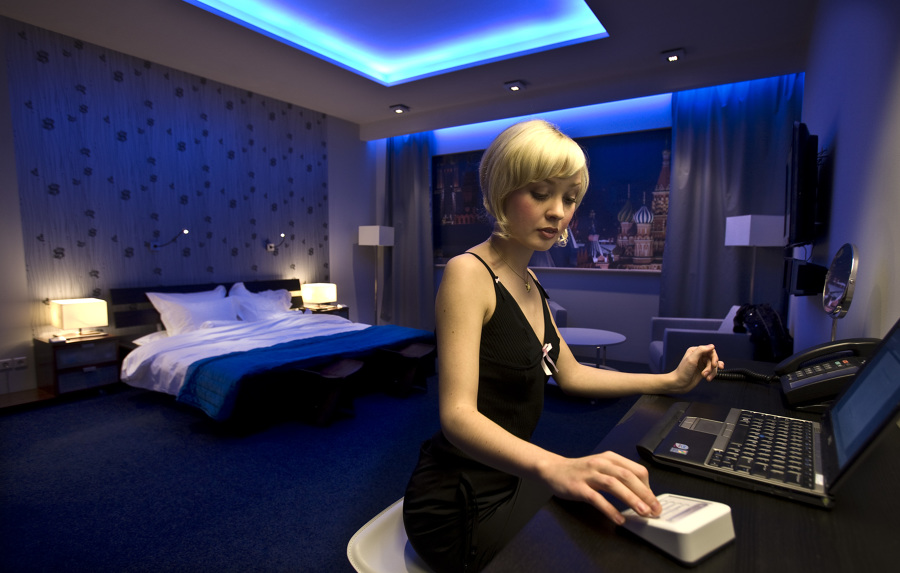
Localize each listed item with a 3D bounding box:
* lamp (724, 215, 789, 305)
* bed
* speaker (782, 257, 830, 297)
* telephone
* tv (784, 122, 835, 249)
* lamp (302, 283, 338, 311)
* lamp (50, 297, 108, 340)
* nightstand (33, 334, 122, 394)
[{"bbox_3d":[3.106,-0.267,5.507,0.516,0.928,0.653,0,8,21],"label":"lamp"},{"bbox_3d":[-1.749,0.573,5.196,2.568,1.053,1.835,0,8,29],"label":"bed"},{"bbox_3d":[2.382,-0.068,3.587,0.179,0.253,0.353,3,3,44],"label":"speaker"},{"bbox_3d":[1.775,0.396,2.540,0.411,0.219,0.306,-14,1,17],"label":"telephone"},{"bbox_3d":[2.493,-0.704,3.739,0.261,0.850,0.612,2,9,33],"label":"tv"},{"bbox_3d":[-1.645,0.125,6.947,0.363,0.230,0.367,-3,-4,41],"label":"lamp"},{"bbox_3d":[-3.466,0.243,5.089,0.416,0.417,0.424,0,8,-13],"label":"lamp"},{"bbox_3d":[-3.543,0.729,5.191,0.480,0.519,0.582,9,11,32],"label":"nightstand"}]
